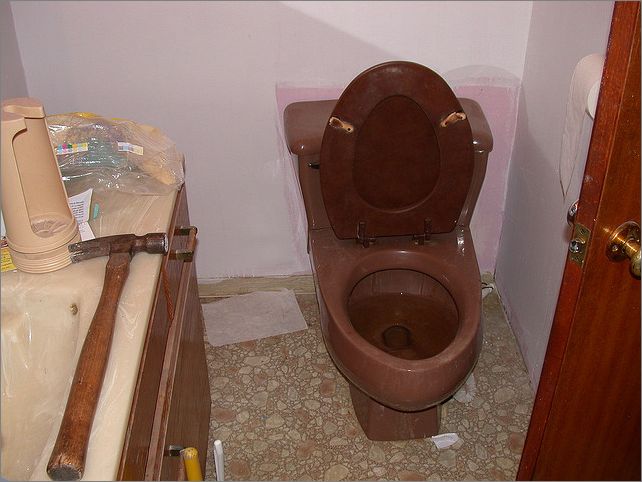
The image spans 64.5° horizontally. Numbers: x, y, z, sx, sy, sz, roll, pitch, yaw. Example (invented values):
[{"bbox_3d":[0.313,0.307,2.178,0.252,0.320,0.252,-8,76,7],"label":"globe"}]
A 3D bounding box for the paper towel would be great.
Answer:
[{"bbox_3d":[0.617,-0.290,1.234,0.068,0.322,0.215,15,-6,31],"label":"paper towel"}]
